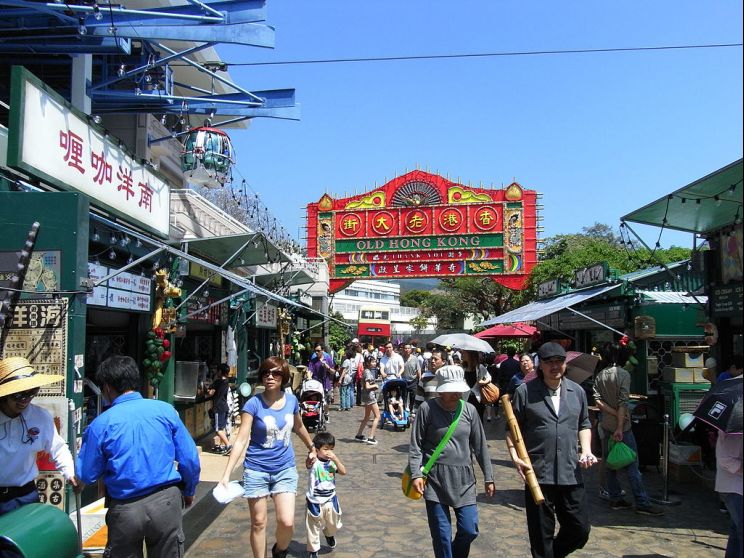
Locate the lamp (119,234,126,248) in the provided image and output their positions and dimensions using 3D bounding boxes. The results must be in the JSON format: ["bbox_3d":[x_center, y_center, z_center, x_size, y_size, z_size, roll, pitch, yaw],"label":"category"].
[{"bbox_3d":[-3.813,-0.571,10.081,0.101,0.135,0.057,3,-19,-7],"label":"lamp"}]

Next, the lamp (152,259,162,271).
[{"bbox_3d":[-3.727,-0.225,11.367,0.109,0.242,0.242,0,-7,8],"label":"lamp"}]

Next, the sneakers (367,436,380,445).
[{"bbox_3d":[0.025,3.482,14.058,0.268,0.131,0.382,1,-8,-2],"label":"sneakers"}]

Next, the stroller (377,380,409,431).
[{"bbox_3d":[0.567,3.169,16.158,0.688,1.279,1.206,1,-16,-5],"label":"stroller"}]

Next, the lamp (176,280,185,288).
[{"bbox_3d":[-3.653,0.102,12.496,0.133,0.062,0.140,11,3,7],"label":"lamp"}]

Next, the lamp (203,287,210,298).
[{"bbox_3d":[-3.644,0.310,14.400,0.129,0.187,0.058,0,-44,-5],"label":"lamp"}]

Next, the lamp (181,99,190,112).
[{"bbox_3d":[-4.213,-3.841,14.782,0.148,0.303,0.350,3,-7,-17],"label":"lamp"}]

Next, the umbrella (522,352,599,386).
[{"bbox_3d":[3.412,1.538,11.734,1.192,0.618,1.144,-3,4,-43],"label":"umbrella"}]

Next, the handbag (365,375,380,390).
[{"bbox_3d":[0.001,2.284,14.259,0.261,0.229,0.361,1,-7,-2],"label":"handbag"}]

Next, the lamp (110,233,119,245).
[{"bbox_3d":[-3.841,-0.574,9.751,0.093,0.144,0.046,0,-10,-2],"label":"lamp"}]

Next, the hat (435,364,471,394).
[{"bbox_3d":[0.831,1.049,6.825,0.266,0.175,0.322,1,-12,-6],"label":"hat"}]

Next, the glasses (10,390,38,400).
[{"bbox_3d":[-3.120,1.050,5.843,0.234,0.135,0.187,6,-9,-33],"label":"glasses"}]

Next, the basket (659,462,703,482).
[{"bbox_3d":[5.269,3.187,10.909,0.318,0.226,0.349,1,-5,-1],"label":"basket"}]

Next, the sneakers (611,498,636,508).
[{"bbox_3d":[3.627,3.233,9.431,0.358,0.166,0.125,-2,-2,-24],"label":"sneakers"}]

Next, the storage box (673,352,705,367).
[{"bbox_3d":[5.721,1.470,11.771,0.302,0.203,0.307,1,-5,9],"label":"storage box"}]

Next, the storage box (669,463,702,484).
[{"bbox_3d":[5.221,3.226,10.908,0.304,0.206,0.318,0,-9,-3],"label":"storage box"}]

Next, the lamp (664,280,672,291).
[{"bbox_3d":[5.963,0.149,13.151,0.160,0.173,0.040,-5,-7,-14],"label":"lamp"}]

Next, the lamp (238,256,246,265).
[{"bbox_3d":[-3.169,-0.442,15.960,0.114,0.180,0.070,-4,8,-6],"label":"lamp"}]

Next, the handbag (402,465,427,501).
[{"bbox_3d":[0.453,2.110,6.873,0.251,0.533,0.372,0,-6,4],"label":"handbag"}]

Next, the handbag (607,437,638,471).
[{"bbox_3d":[3.542,2.492,9.222,0.420,0.411,0.283,1,-7,0],"label":"handbag"}]

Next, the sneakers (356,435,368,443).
[{"bbox_3d":[-0.216,3.507,14.259,0.209,0.099,0.101,3,-4,1],"label":"sneakers"}]

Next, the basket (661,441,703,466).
[{"bbox_3d":[5.280,2.930,10.956,0.404,0.287,0.429,2,-6,1],"label":"basket"}]

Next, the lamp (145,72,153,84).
[{"bbox_3d":[-4.973,-4.454,14.546,0.130,0.059,0.202,-25,-21,-27],"label":"lamp"}]

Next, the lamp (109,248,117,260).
[{"bbox_3d":[-3.893,-0.370,9.836,0.061,0.092,0.148,29,-23,4],"label":"lamp"}]

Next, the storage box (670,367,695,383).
[{"bbox_3d":[5.586,1.747,11.811,0.267,0.186,0.284,-1,-4,8],"label":"storage box"}]

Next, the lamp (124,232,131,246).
[{"bbox_3d":[-3.792,-0.588,10.145,0.099,0.153,0.054,1,9,-28],"label":"lamp"}]

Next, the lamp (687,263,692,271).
[{"bbox_3d":[6.464,-0.241,13.285,0.046,0.125,0.095,30,-29,-17],"label":"lamp"}]

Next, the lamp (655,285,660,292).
[{"bbox_3d":[5.747,0.209,13.086,0.158,0.111,0.076,0,-7,6],"label":"lamp"}]
